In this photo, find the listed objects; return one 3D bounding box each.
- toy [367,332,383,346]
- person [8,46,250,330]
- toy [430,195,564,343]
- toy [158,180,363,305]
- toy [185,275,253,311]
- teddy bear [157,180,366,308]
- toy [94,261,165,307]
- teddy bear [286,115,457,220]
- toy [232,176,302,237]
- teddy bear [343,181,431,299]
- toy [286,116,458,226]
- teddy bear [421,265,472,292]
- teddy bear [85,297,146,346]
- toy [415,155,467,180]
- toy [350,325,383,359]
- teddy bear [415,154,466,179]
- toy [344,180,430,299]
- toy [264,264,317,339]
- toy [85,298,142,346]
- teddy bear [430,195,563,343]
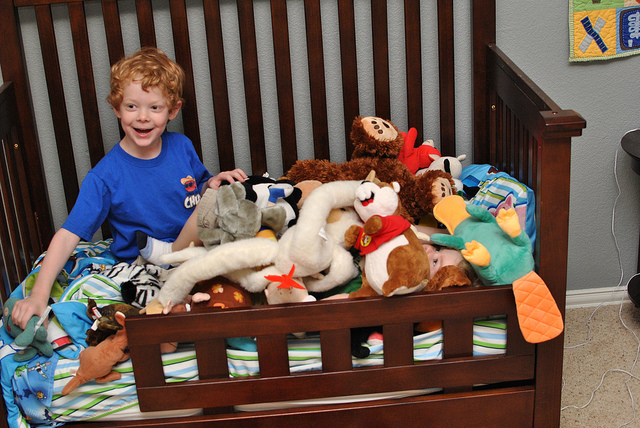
[{"bbox_3d":[0.175,0.397,1.882,0.032,0.037,0.040,7,12,6],"label":"toy"},{"bbox_3d":[-0.716,-0.110,2.177,0.831,0.689,0.445,-18,37,-28],"label":"person"},{"bbox_3d":[0.603,0.162,1.953,0.336,0.492,0.151,-36,-25,6],"label":"toy"},{"bbox_3d":[-0.157,0.131,1.860,0.559,0.237,0.372,-32,51,-29],"label":"toy"},{"bbox_3d":[-0.322,0.270,1.941,0.181,0.061,0.188,-17,26,-19],"label":"toy"},{"bbox_3d":[-0.146,0.106,1.870,0.593,0.234,0.383,-35,57,-28],"label":"teddy bear"},{"bbox_3d":[-0.642,0.218,2.011,0.189,0.080,0.145,23,27,16],"label":"toy"},{"bbox_3d":[0.227,-0.182,2.296,0.578,0.289,0.363,22,7,5],"label":"teddy bear"},{"bbox_3d":[-0.195,-0.040,2.044,0.213,0.114,0.208,-2,21,-26],"label":"toy"},{"bbox_3d":[0.221,0.089,1.967,0.261,0.410,0.279,17,-24,-41],"label":"teddy bear"},{"bbox_3d":[0.175,-0.140,2.306,0.597,0.238,0.371,22,45,19],"label":"toy"},{"bbox_3d":[0.401,0.193,1.931,0.138,0.035,0.159,3,10,34],"label":"teddy bear"},{"bbox_3d":[-0.656,0.342,1.916,0.178,0.082,0.116,-3,16,-40],"label":"teddy bear"},{"bbox_3d":[0.498,-0.189,2.291,0.115,0.067,0.139,-2,-9,-14],"label":"toy"},{"bbox_3d":[0.136,0.394,1.874,0.112,0.033,0.102,-12,21,-8],"label":"toy"},{"bbox_3d":[0.496,-0.190,2.284,0.112,0.069,0.133,2,-6,-16],"label":"teddy bear"},{"bbox_3d":[0.216,0.086,1.968,0.283,0.403,0.265,-14,-22,40],"label":"toy"},{"bbox_3d":[-0.104,0.249,1.904,0.164,0.222,0.210,-15,-26,-2],"label":"toy"},{"bbox_3d":[-0.673,0.349,1.888,0.156,0.070,0.148,-2,32,18],"label":"toy"},{"bbox_3d":[0.591,0.173,1.965,0.316,0.481,0.135,-33,-24,3],"label":"teddy bear"}]
